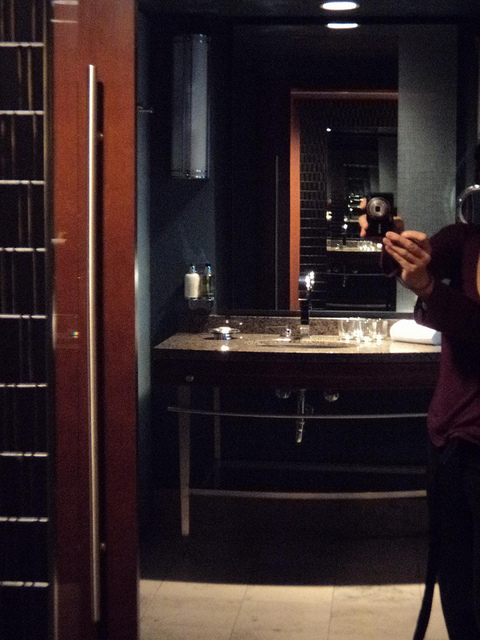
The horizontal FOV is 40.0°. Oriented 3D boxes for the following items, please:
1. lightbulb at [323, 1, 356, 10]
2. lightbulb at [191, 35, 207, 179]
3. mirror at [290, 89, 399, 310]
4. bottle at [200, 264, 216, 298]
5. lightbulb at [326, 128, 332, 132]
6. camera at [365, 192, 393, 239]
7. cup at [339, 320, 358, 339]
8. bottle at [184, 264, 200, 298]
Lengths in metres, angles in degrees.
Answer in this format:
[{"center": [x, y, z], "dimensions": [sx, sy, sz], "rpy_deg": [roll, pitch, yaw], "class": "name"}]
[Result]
[{"center": [0.404, -1.276, 2.672], "dimensions": [0.131, 0.022, 0.037], "rpy_deg": [1, 5, 14], "class": "lightbulb"}, {"center": [-0.163, -0.853, 2.647], "dimensions": [0.068, 0.542, 0.081], "rpy_deg": [-1, 3, -9], "class": "lightbulb"}, {"center": [0.475, -0.481, 2.883], "dimensions": [0.446, 0.115, 1.314], "rpy_deg": [5, -42, 12], "class": "mirror"}, {"center": [-0.137, -0.163, 2.789], "dimensions": [0.055, 0.139, 0.118], "rpy_deg": [0, 4, 2], "class": "bottle"}, {"center": [0.369, -0.787, 2.728], "dimensions": [0.010, 0.008, 0.021], "rpy_deg": [6, 3, -2], "class": "lightbulb"}, {"center": [0.269, -0.204, 1.272], "dimensions": [0.051, 0.097, 0.210], "rpy_deg": [0, 5, 13], "class": "camera"}, {"center": [0.423, 0.036, 2.557], "dimensions": [0.050, 0.103, 0.061], "rpy_deg": [1, 2, 7], "class": "cup"}, {"center": [-0.205, -0.157, 2.721], "dimensions": [0.073, 0.205, 0.085], "rpy_deg": [0, 2, -11], "class": "bottle"}]
